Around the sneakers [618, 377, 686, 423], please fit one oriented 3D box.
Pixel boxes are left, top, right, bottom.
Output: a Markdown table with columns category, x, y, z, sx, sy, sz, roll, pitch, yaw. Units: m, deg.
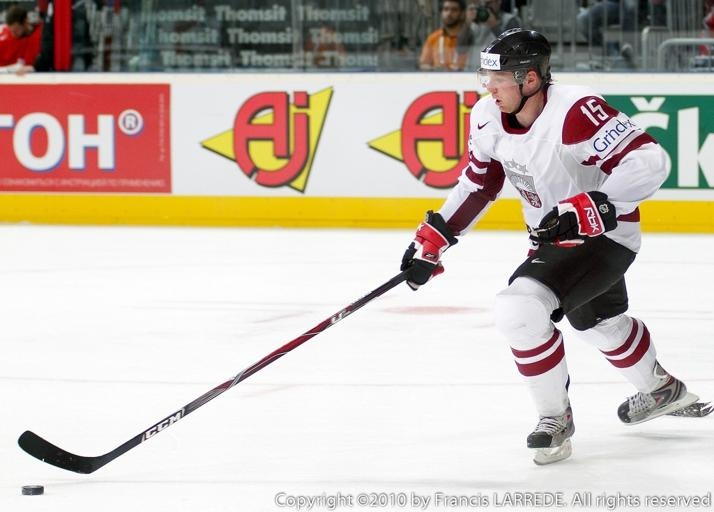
| category | x | y | z | sx | sy | sz | roll | pitch | yaw |
| --- | --- | --- | --- | --- | --- | --- | --- | --- | --- |
| sneakers | 1.179 | 0.578 | 3.994 | 0.265 | 0.106 | 0.087 | -22 | 17 | 7 |

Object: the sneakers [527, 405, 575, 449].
| category | x | y | z | sx | sy | sz | roll | pitch | yaw |
| --- | --- | --- | --- | --- | --- | --- | --- | --- | --- |
| sneakers | 0.722 | 0.651 | 3.746 | 0.121 | 0.138 | 0.230 | 6 | 15 | 37 |

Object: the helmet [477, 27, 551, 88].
| category | x | y | z | sx | sy | sz | roll | pitch | yaw |
| --- | --- | --- | --- | --- | --- | --- | --- | --- | --- |
| helmet | 0.627 | -0.788 | 3.900 | 0.262 | 0.217 | 0.201 | -20 | 23 | -24 |

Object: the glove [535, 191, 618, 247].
| category | x | y | z | sx | sy | sz | roll | pitch | yaw |
| --- | --- | --- | --- | --- | --- | --- | --- | --- | --- |
| glove | 0.788 | -0.151 | 3.694 | 0.274 | 0.158 | 0.105 | -22 | 30 | 3 |
